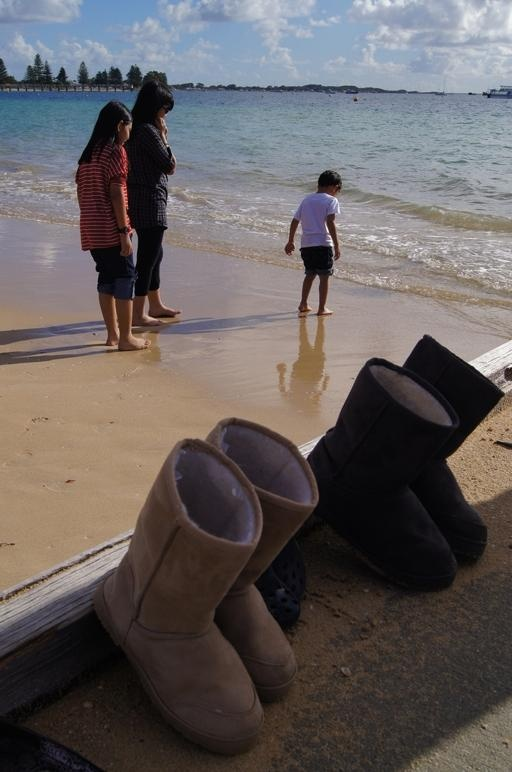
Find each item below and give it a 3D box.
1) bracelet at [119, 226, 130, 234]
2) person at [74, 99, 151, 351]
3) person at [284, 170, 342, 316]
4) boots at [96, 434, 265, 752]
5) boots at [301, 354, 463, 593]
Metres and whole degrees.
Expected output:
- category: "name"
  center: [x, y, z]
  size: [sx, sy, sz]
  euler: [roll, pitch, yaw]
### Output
- category: "bracelet"
  center: [-0.832, -0.983, 3.896]
  size: [0.055, 0.038, 0.059]
  euler: [8, 35, 11]
- category: "person"
  center: [-0.970, -0.988, 4.043]
  size: [0.381, 1.608, 0.310]
  euler: [12, 26, 18]
- category: "person"
  center: [0.554, -1.367, 5.811]
  size: [0.525, 1.242, 1.056]
  euler: [5, 24, 3]
- category: "boots"
  center: [-0.151, 0.411, 1.328]
  size: [0.228, 0.569, 0.487]
  euler: [-15, 30, -36]
- category: "boots"
  center: [0.412, 0.303, 1.936]
  size: [0.591, 0.544, 0.262]
  euler: [41, 38, 3]
